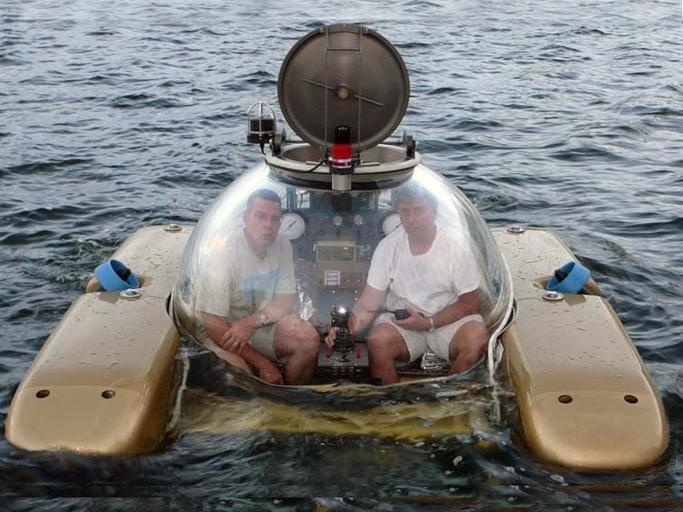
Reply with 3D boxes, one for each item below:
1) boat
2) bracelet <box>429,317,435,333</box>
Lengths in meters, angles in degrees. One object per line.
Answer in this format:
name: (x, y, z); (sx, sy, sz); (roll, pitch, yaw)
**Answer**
boat: (-0.062, 0.221, 5.581); (4.500, 1.787, 3.412); (0, 22, 2)
bracelet: (0.601, 0.450, 4.820); (0.040, 0.067, 0.063); (-1, 10, -12)
